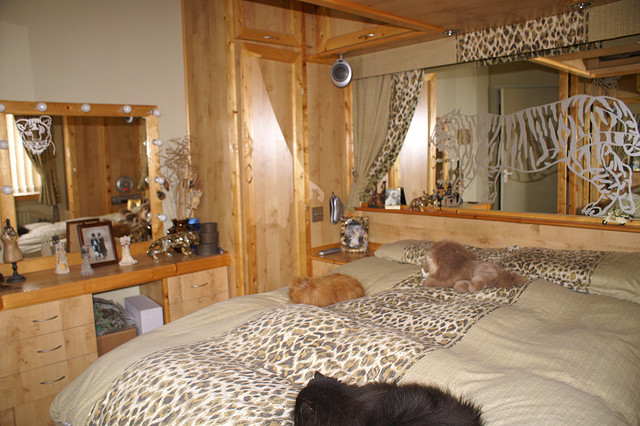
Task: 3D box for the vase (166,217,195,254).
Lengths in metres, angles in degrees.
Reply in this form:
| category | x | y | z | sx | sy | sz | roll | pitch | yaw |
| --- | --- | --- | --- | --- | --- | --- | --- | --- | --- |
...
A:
| category | x | y | z | sx | sy | sz | roll | pitch | yaw |
| --- | --- | --- | --- | --- | --- | --- | --- | --- | --- |
| vase | -1.419 | 0.218 | 4.611 | 0.305 | 0.371 | 0.315 | -1 | 4 | 6 |

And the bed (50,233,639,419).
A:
| category | x | y | z | sx | sy | sz | roll | pitch | yaw |
| --- | --- | --- | --- | --- | --- | --- | --- | --- | --- |
| bed | 0.335 | 0.817 | 2.895 | 3.379 | 0.558 | 1.283 | -2 | 8 | 4 |

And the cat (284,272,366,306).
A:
| category | x | y | z | sx | sy | sz | roll | pitch | yaw |
| --- | --- | --- | --- | --- | --- | --- | --- | --- | --- |
| cat | 0.038 | 0.581 | 3.574 | 0.431 | 0.223 | 0.271 | -10 | 2 | -10 |

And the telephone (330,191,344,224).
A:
| category | x | y | z | sx | sy | sz | roll | pitch | yaw |
| --- | --- | --- | --- | --- | --- | --- | --- | --- | --- |
| telephone | 0.203 | -0.074 | 5.079 | 0.123 | 0.310 | 0.148 | -2 | 0 | 32 |
